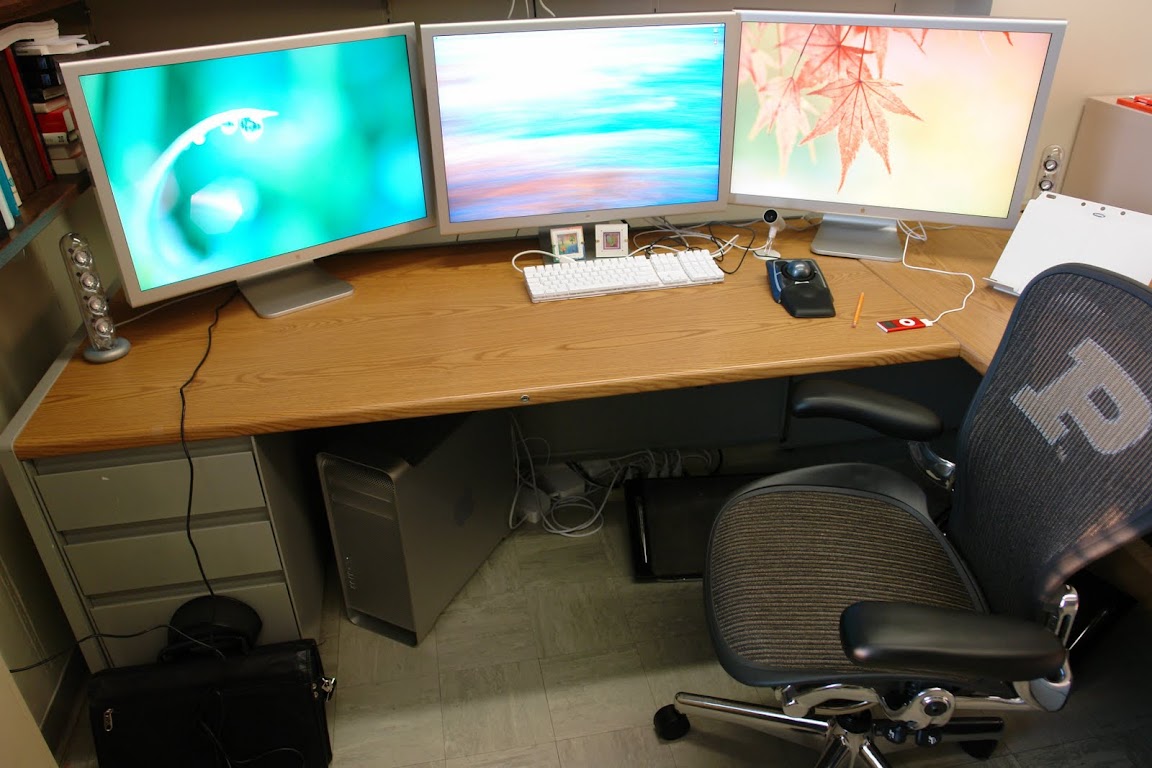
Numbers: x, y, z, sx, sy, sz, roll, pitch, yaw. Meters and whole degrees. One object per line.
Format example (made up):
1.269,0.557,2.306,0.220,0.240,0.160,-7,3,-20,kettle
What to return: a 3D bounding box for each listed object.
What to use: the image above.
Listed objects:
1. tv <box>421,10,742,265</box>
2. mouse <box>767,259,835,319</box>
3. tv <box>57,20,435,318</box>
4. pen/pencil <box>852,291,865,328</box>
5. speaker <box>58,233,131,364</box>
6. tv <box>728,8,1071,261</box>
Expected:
0.014,-0.741,2.391,0.997,0.578,0.062,-4,35,-5,tv
0.643,-0.289,2.354,0.186,0.077,0.228,-6,53,-11,mouse
-0.900,-0.599,2.216,0.899,0.611,0.242,-16,46,-24,tv
0.791,-0.201,2.307,0.012,0.012,0.173,-12,27,33,pen/pencil
-1.261,-0.287,2.167,0.122,0.111,0.289,-21,79,-34,speaker
0.927,-0.734,2.406,0.978,0.632,0.253,6,41,9,tv
